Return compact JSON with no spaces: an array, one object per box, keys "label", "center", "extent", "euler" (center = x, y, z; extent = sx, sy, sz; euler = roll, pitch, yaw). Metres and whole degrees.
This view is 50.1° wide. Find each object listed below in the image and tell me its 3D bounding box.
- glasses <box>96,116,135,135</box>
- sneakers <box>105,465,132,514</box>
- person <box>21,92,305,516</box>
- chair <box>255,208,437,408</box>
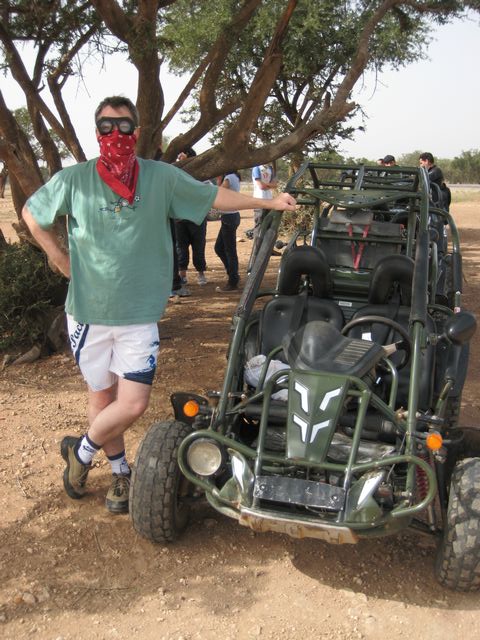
[{"label":"glasses","center":[-0.515,-0.814,2.145],"extent":[0.149,0.072,0.049],"euler":[-2,11,-14]},{"label":"sneakers","center":[-0.605,0.896,2.688],"extent":[0.113,0.129,0.293],"euler":[0,5,0]},{"label":"person","center":[-0.481,0.032,2.398],"extent":[0.965,2.005,0.455],"euler":[0,11,0]},{"label":"chair","center":[0.667,-0.107,3.532],"extent":[1.114,1.468,1.288],"euler":[3,42,12]}]
